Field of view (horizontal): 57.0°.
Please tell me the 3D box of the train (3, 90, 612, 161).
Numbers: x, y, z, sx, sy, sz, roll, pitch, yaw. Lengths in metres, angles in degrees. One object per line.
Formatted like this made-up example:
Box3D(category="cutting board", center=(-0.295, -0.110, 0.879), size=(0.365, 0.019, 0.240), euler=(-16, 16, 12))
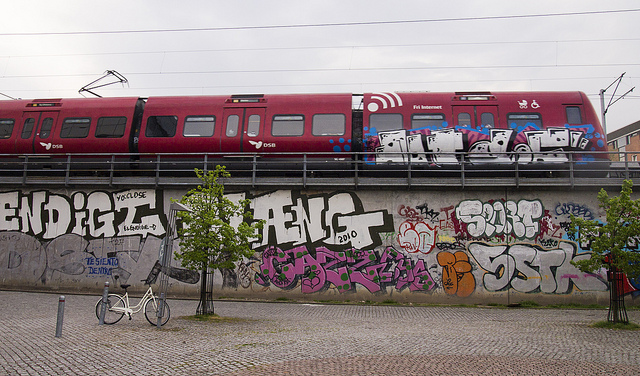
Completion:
Box3D(category="train", center=(-0.612, -3.249, 30.233), size=(29.485, 3.629, 1.226), euler=(2, 4, 5))
